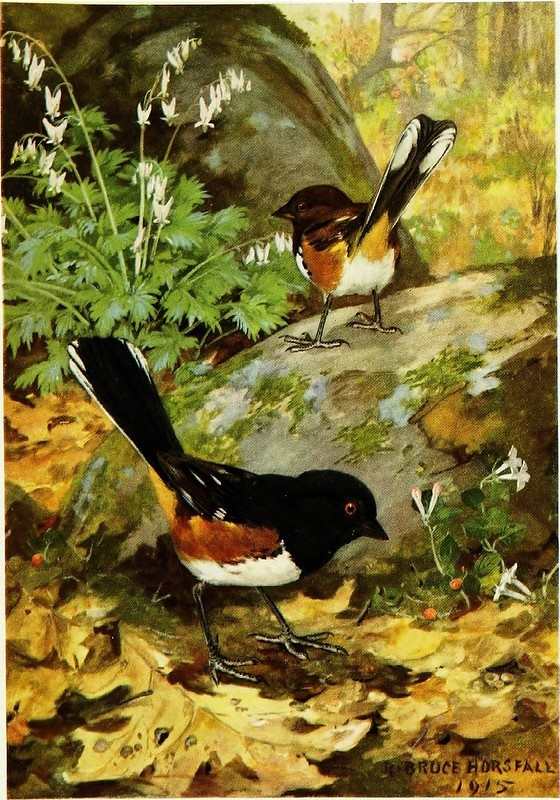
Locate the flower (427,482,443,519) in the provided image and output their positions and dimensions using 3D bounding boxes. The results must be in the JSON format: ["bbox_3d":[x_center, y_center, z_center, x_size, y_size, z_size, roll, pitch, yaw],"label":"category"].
[{"bbox_3d":[0.445,0.286,2.891,0.028,0.102,0.030,22,-11,-13],"label":"flower"}]

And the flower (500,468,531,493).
[{"bbox_3d":[0.689,0.230,2.912,0.071,0.034,0.065,7,37,7],"label":"flower"}]

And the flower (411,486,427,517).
[{"bbox_3d":[0.401,0.286,2.886,0.052,0.076,0.019,-17,11,-1],"label":"flower"}]

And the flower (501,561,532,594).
[{"bbox_3d":[0.679,0.519,2.949,0.084,0.086,0.062,-51,-4,-18],"label":"flower"}]
